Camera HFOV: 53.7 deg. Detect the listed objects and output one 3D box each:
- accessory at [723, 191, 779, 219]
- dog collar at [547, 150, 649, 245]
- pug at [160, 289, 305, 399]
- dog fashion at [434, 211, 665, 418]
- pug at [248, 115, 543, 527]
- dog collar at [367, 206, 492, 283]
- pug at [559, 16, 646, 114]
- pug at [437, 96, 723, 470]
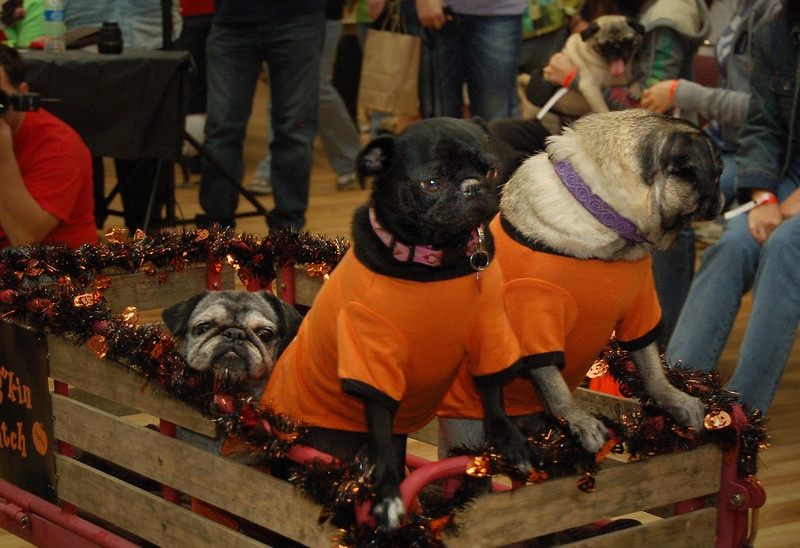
[{"bbox_3d":[1.500,-0.296,3.356,0.295,0.064,0.056,-16,35,-9],"label":"accessory"},{"bbox_3d":[0.539,-0.201,2.199,0.242,0.058,0.207,42,18,-7],"label":"dog collar"},{"bbox_3d":[-0.547,0.239,2.519,0.445,0.361,0.413,5,-10,-11],"label":"pug"},{"bbox_3d":[0.501,0.039,2.463,0.825,0.635,0.548,-9,6,-40],"label":"dog fashion"},{"bbox_3d":[-0.037,0.059,2.276,0.623,0.983,0.870,-8,14,-39],"label":"pug"},{"bbox_3d":[0.111,-0.106,2.083,0.312,0.078,0.237,4,30,35],"label":"dog collar"},{"bbox_3d":[1.127,-1.109,4.208,0.377,0.461,0.621,-6,15,4],"label":"pug"},{"bbox_3d":[0.571,0.010,2.411,0.864,1.026,0.663,14,13,23],"label":"pug"}]
